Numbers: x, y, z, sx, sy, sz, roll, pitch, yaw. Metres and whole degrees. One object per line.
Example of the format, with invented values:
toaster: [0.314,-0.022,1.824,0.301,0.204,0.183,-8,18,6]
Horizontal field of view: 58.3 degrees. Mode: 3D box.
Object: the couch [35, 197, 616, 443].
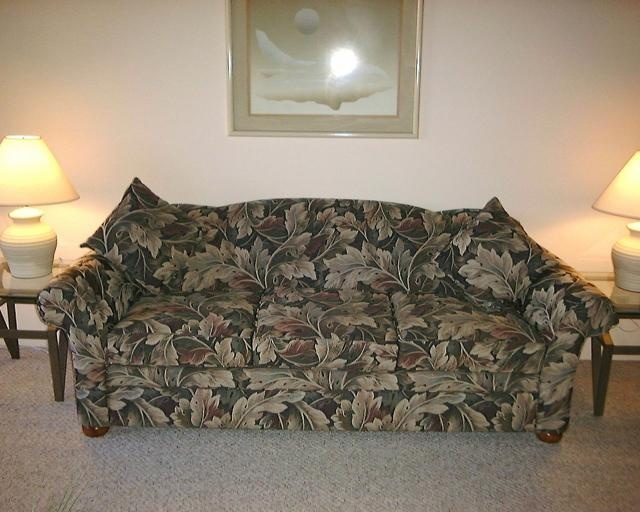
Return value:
couch: [0.080,0.285,2.906,2.673,0.859,0.795,3,28,-6]
